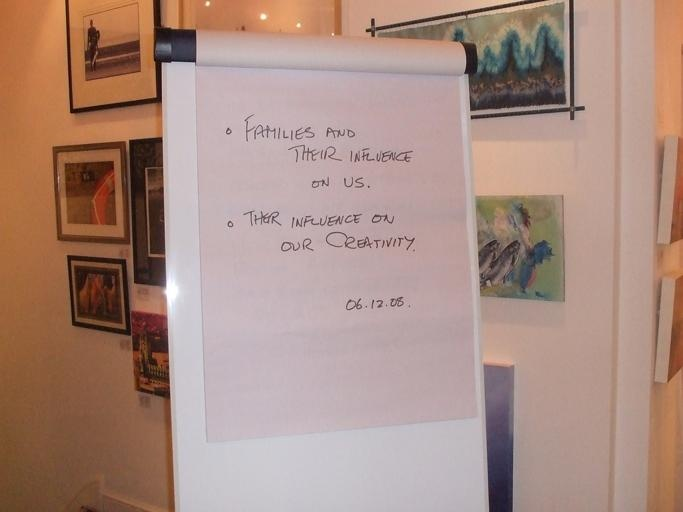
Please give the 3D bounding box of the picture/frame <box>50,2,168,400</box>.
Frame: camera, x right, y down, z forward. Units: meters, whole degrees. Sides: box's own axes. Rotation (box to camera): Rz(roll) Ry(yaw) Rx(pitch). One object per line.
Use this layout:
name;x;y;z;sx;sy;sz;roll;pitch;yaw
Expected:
picture/frame;-1.011;-0.262;2.815;0.669;1.763;0.069;0;4;27

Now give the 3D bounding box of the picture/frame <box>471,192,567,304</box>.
picture/frame;0.673;-0.037;2.329;0.364;0.471;0.018;1;3;21
